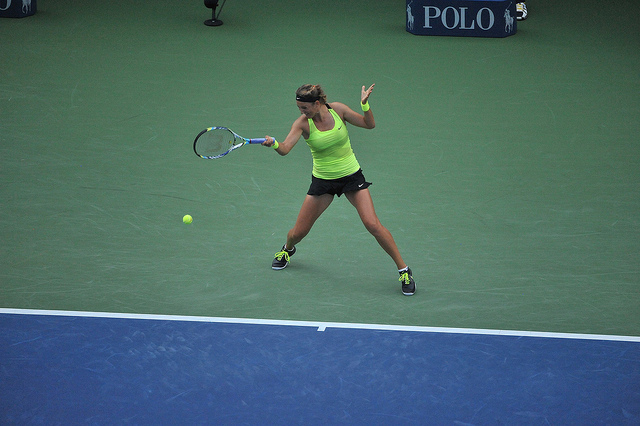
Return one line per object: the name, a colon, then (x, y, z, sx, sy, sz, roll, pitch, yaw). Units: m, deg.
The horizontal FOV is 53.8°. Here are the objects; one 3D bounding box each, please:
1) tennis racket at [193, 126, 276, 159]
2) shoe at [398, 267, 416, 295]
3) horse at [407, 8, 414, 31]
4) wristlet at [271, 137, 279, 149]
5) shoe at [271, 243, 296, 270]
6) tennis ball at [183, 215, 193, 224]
tennis racket: (-1.231, -0.850, 7.632, 0.470, 0.372, 0.730, 0, 10, -14)
shoe: (1.032, 0.831, 7.500, 0.127, 0.147, 0.343, -10, 16, 2)
horse: (2.110, -4.534, 14.796, 0.110, 0.438, 0.272, -3, 11, -26)
wristlet: (-0.501, -0.787, 7.273, 0.077, 0.095, 0.085, -17, 11, -18)
shoe: (-0.459, 0.554, 8.014, 0.163, 0.141, 0.354, 37, 29, -4)
tennis ball: (-1.837, 0.100, 8.784, 0.086, 0.086, 0.088, 14, 23, -6)
